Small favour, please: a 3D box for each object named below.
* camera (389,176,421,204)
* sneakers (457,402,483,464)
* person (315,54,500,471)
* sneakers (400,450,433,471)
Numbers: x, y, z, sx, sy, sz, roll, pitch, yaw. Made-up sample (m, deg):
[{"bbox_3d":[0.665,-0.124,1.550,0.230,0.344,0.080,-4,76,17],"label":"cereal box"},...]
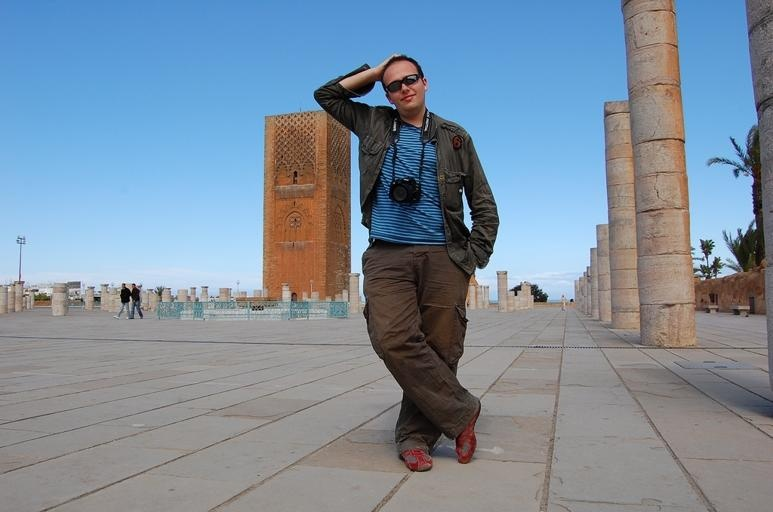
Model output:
[{"bbox_3d":[0.138,-0.441,3.856,0.272,0.204,0.187,1,4,13],"label":"camera"},{"bbox_3d":[0.555,1.241,3.891,0.201,0.372,0.141,10,3,0],"label":"sneakers"},{"bbox_3d":[0.239,-0.016,3.976,1.123,2.928,0.459,-4,-4,-5],"label":"person"},{"bbox_3d":[0.193,1.377,3.735,0.211,0.131,0.138,-4,-3,6],"label":"sneakers"}]
